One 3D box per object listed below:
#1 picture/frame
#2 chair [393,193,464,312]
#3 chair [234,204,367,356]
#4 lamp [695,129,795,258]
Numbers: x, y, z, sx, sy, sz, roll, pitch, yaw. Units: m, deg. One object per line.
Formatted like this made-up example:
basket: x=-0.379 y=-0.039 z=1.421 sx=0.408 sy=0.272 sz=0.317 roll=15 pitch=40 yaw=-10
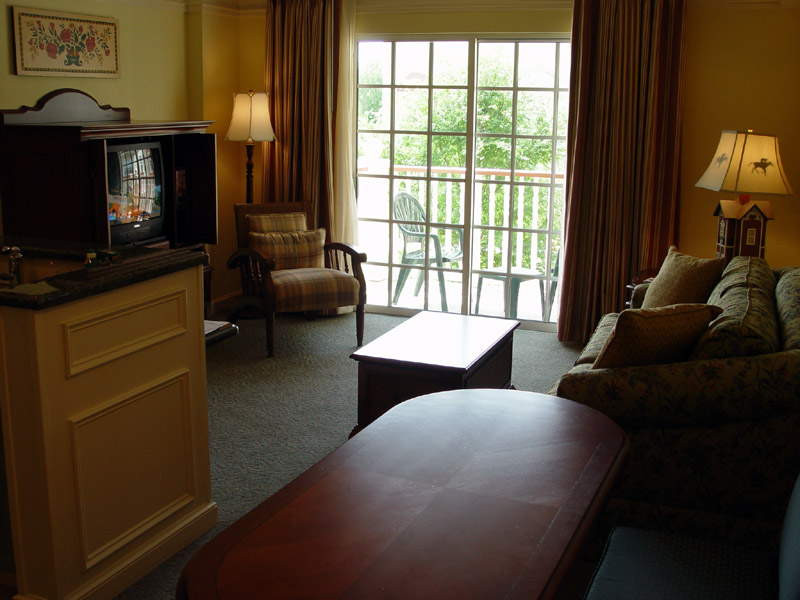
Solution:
picture/frame: x=-2.289 y=-1.754 z=4.229 sx=0.039 sy=0.440 sz=0.819 roll=7 pitch=17 yaw=25
chair: x=0.239 y=-0.447 z=5.659 sx=0.594 sy=0.921 sz=0.610 roll=13 pitch=13 yaw=35
chair: x=-0.858 y=-0.214 z=5.119 sx=0.992 sy=1.225 sz=1.067 roll=2 pitch=6 yaw=36
lamp: x=2.386 y=-0.739 z=4.246 sx=0.549 sy=0.830 sz=0.693 roll=12 pitch=19 yaw=38
